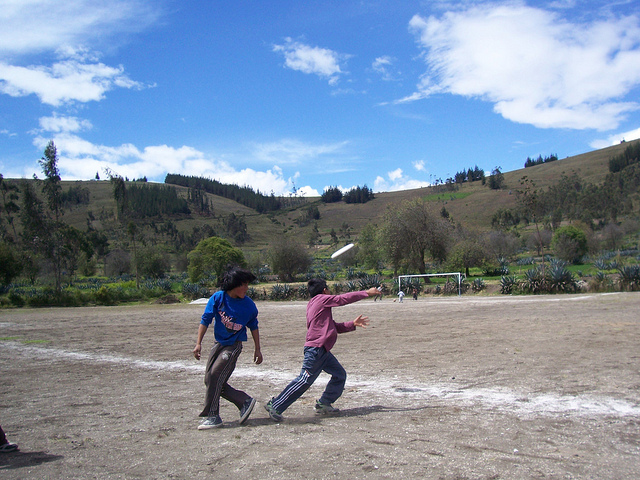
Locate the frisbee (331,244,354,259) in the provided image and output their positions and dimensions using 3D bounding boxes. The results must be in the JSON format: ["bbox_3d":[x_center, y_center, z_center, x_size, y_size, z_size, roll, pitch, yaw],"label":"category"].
[{"bbox_3d":[0.448,0.218,11.951,0.301,0.074,0.310,-32,-7,7],"label":"frisbee"}]

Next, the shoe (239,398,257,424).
[{"bbox_3d":[-1.407,3.261,11.547,0.235,0.585,0.201,23,-42,5],"label":"shoe"}]

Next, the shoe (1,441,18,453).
[{"bbox_3d":[-5.541,3.699,10.730,0.318,0.160,0.114,3,5,-12],"label":"shoe"}]

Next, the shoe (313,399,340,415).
[{"bbox_3d":[0.131,3.356,12.064,0.506,0.260,0.199,5,-3,4],"label":"shoe"}]
